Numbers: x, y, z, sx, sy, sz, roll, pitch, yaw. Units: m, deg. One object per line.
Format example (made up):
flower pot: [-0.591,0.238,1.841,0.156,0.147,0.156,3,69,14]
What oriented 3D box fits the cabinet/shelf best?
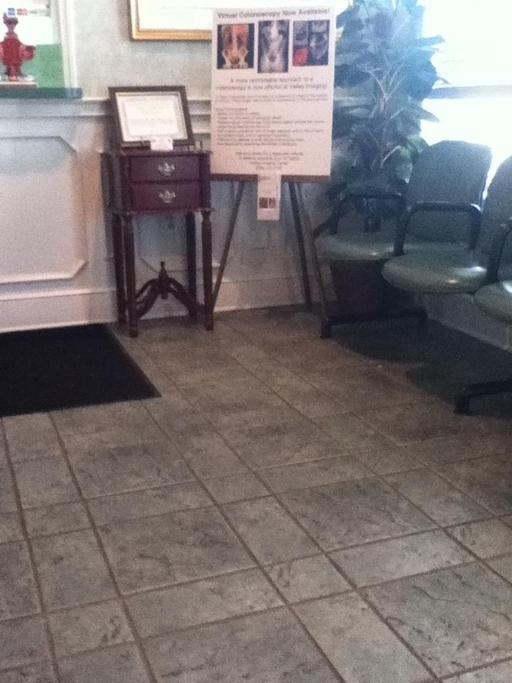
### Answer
cabinet/shelf: [-0.475,-0.507,2.977,0.572,0.922,0.479,-3,14,-14]
